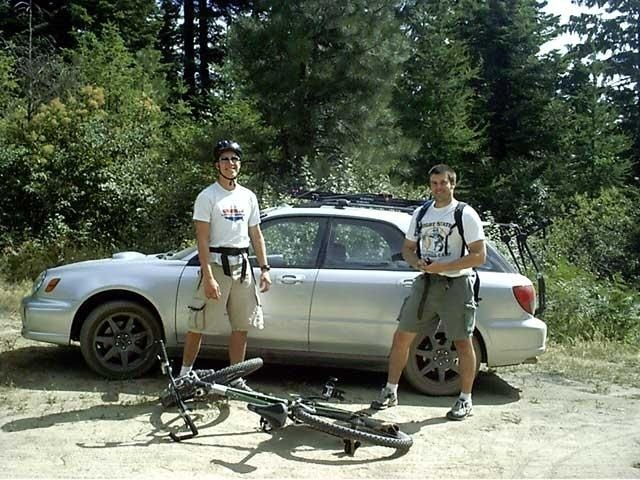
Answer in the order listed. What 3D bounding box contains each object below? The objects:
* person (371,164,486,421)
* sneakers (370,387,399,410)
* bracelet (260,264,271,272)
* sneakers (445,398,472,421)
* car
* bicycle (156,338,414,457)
[{"bbox_3d":[1.129,0.483,5.875,0.888,2.446,0.501,6,8,16],"label":"person"},{"bbox_3d":[0.655,1.573,6.020,0.141,0.159,0.334,0,-3,44],"label":"sneakers"},{"bbox_3d":[-0.541,0.267,5.960,0.080,0.051,0.074,4,-8,-38],"label":"bracelet"},{"bbox_3d":[1.340,1.642,5.816,0.136,0.142,0.315,-4,-9,37],"label":"sneakers"},{"bbox_3d":[-0.451,0.602,7.260,5.682,1.930,2.231,4,-3,1],"label":"car"},{"bbox_3d":[-0.354,1.424,5.363,2.144,0.958,1.241,9,1,24],"label":"bicycle"}]
